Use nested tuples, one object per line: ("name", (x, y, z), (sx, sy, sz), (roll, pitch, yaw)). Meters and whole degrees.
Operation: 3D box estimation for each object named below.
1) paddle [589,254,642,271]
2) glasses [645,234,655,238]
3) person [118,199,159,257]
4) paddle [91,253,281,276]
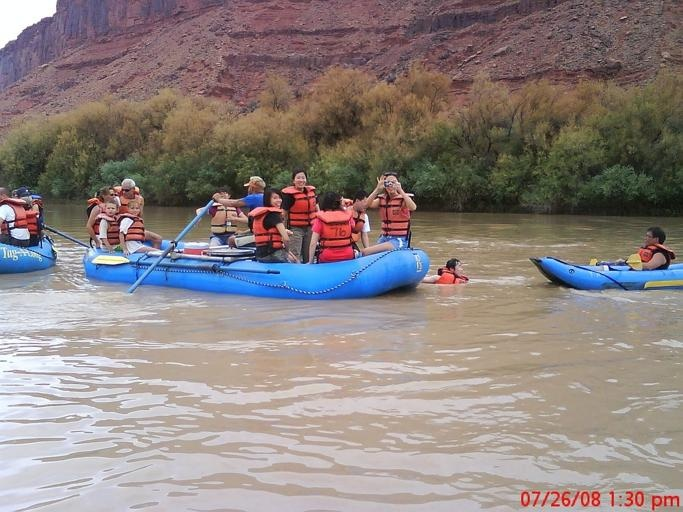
("paddle", (4.651, 0.109, 15.138), (1.030, 0.343, 0.330), (1, -1, 8))
("glasses", (5.372, -0.358, 15.066), (0.091, 0.100, 0.117), (-4, 3, -33))
("person", (-3.827, -0.475, 16.262), (1.076, 0.991, 0.900), (-1, 0, -13))
("paddle", (-2.534, 0.139, 15.076), (3.337, 0.235, 0.335), (1, 10, 19))
